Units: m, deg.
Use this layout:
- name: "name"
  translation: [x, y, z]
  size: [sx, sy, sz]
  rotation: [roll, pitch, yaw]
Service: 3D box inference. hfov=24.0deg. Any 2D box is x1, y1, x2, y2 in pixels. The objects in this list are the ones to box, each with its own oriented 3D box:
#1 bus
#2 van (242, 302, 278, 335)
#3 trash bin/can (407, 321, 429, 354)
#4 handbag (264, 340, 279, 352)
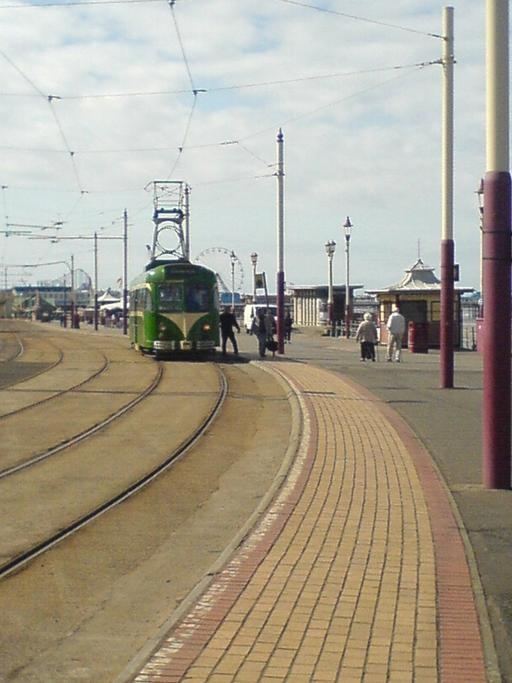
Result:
- name: "bus"
  translation: [-2.029, -0.757, 29.178]
  size: [1.384, 1.922, 4.345]
  rotation: [0, 1, -14]
- name: "van"
  translation: [0.041, -1.265, 58.198]
  size: [1.537, 1.452, 2.526]
  rotation: [-1, -4, -17]
- name: "trash bin/can"
  translation: [4.107, -0.103, 30.256]
  size: [0.473, 0.762, 0.702]
  rotation: [1, 3, 5]
- name: "handbag"
  translation: [0.389, 0.070, 27.567]
  size: [0.215, 0.321, 0.126]
  rotation: [-8, -5, 26]
